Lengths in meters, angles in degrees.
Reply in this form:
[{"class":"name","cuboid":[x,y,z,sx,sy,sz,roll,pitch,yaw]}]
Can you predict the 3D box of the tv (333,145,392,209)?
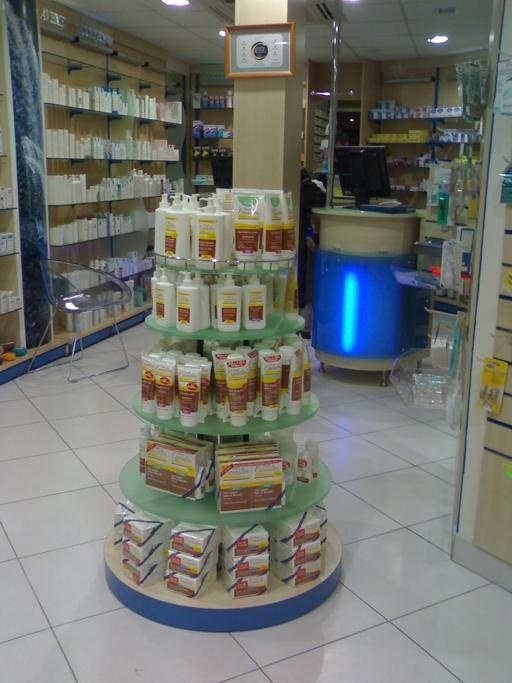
[{"class":"tv","cuboid":[0.813,-1.316,4.268,0.521,0.452,0.233,11,14,44]}]
